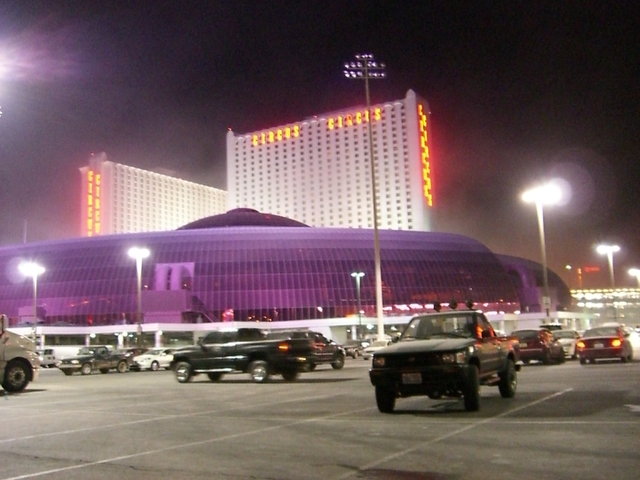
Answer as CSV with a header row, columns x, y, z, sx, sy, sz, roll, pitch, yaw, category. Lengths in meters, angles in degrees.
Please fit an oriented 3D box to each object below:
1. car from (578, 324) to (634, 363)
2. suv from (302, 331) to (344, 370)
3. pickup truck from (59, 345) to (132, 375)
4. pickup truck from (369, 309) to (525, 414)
x,y,z,sx,sy,sz,roll,pitch,yaw,category
13.273,4.884,26.381,1.739,1.628,4.127,-5,-8,38,car
0.270,5.737,28.992,1.512,1.473,3.413,-4,-5,31,suv
-14.805,8.099,37.781,2.251,1.636,4.475,-8,-16,27,pickup truck
3.251,2.918,14.023,1.937,1.720,3.792,-9,-18,27,pickup truck
